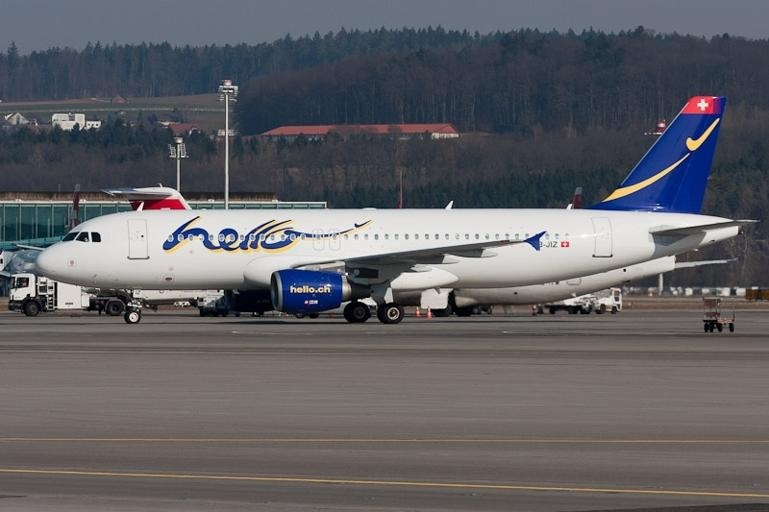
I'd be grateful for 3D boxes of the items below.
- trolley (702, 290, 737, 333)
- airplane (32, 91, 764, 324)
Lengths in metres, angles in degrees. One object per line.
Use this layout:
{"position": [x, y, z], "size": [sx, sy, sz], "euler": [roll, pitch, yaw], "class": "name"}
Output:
{"position": [14.381, 2.569, 70.048], "size": [2.121, 1.789, 3.358], "euler": [-1, -6, 15], "class": "trolley"}
{"position": [1.573, -0.623, 73.867], "size": [20.671, 5.405, 16.484], "euler": [1, 0, -5], "class": "airplane"}
